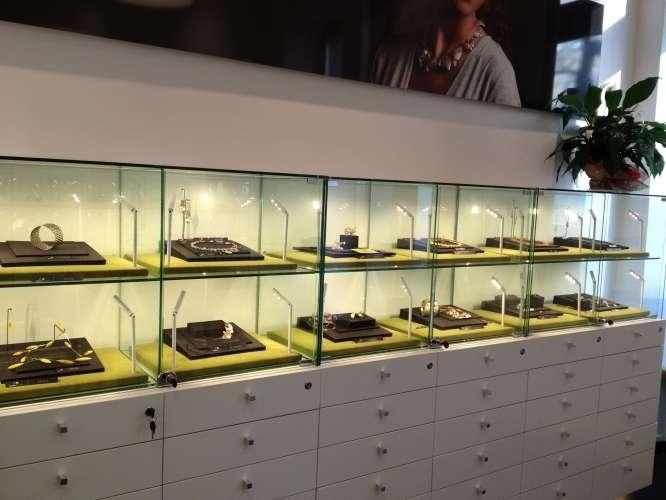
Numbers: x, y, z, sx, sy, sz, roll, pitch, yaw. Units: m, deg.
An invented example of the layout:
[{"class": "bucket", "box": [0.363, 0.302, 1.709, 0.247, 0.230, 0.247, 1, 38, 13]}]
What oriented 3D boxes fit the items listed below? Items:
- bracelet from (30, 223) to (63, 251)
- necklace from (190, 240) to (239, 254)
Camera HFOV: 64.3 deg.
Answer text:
[{"class": "bracelet", "box": [-1.130, -0.051, 2.106, 0.115, 0.108, 0.020, -3, 2, -36]}, {"class": "necklace", "box": [-0.523, -0.012, 2.356, 0.207, 0.065, 0.032, -2, 2, -18]}]
